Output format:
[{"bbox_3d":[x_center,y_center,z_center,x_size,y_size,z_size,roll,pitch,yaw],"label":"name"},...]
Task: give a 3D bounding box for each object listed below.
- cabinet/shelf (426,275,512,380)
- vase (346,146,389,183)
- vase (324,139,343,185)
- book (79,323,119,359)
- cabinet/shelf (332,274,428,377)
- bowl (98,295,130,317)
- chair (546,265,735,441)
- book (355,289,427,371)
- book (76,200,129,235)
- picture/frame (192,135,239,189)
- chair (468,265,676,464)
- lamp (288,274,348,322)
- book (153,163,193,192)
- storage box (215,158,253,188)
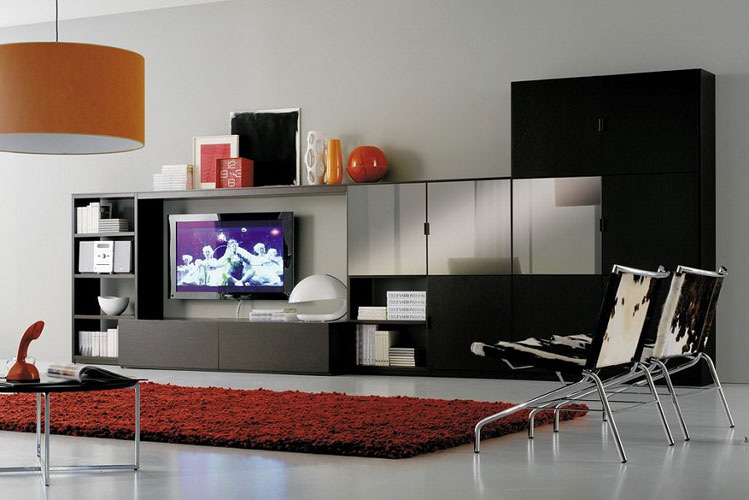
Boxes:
[{"bbox_3d":[0.887,0.702,6.512,0.999,1.117,0.375,0,0,13],"label":"cabinet/shelf"},{"bbox_3d":[-0.082,-0.842,7.278,0.378,0.316,0.374,0,-1,-23],"label":"vase"},{"bbox_3d":[-0.431,-0.892,7.283,0.194,0.438,0.158,-1,0,10],"label":"vase"},{"bbox_3d":[-3.066,1.034,7.978,0.439,0.368,0.239,2,0,28],"label":"book"},{"bbox_3d":[0.057,0.778,7.023,0.992,0.912,0.315,0,-4,14],"label":"cabinet/shelf"},{"bbox_3d":[-2.902,0.630,7.992,0.256,0.170,0.238,-2,-3,0],"label":"bowl"},{"bbox_3d":[1.818,0.576,5.025,0.802,1.282,1.198,-5,13,-3],"label":"chair"},{"bbox_3d":[0.168,0.816,7.010,0.824,0.786,0.315,0,-2,16],"label":"book"},{"bbox_3d":[-3.021,-0.354,7.959,0.398,0.268,0.126,0,-3,16],"label":"book"},{"bbox_3d":[-1.678,-0.926,7.668,0.616,0.677,0.029,-1,-7,21],"label":"picture/frame"},{"bbox_3d":[1.221,0.677,4.369,0.909,1.059,1.098,2,-4,-38],"label":"chair"},{"bbox_3d":[-0.566,0.482,7.142,0.467,0.370,0.464,-5,-3,0],"label":"lamp"},{"bbox_3d":[-2.188,-0.776,7.746,0.450,0.248,0.209,-1,0,14],"label":"book"},{"bbox_3d":[-1.466,-0.810,7.556,0.364,0.291,0.191,-1,0,-20],"label":"storage box"}]
